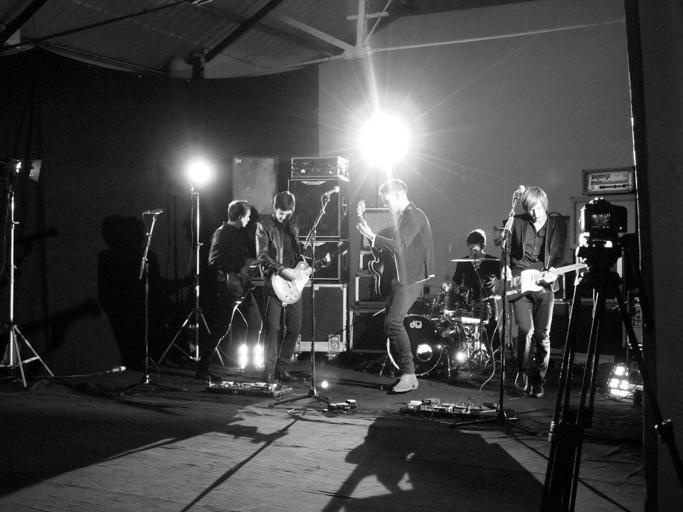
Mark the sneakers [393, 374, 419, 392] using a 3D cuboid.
[{"bbox_3d":[0.695,1.373,7.253,0.267,0.154,0.155,-2,-2,-15],"label":"sneakers"}]

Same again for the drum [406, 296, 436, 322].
[{"bbox_3d":[1.033,0.684,8.598,0.348,0.295,0.252,-2,-11,18],"label":"drum"}]

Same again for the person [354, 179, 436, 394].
[{"bbox_3d":[0.712,0.015,7.521,0.670,1.995,0.726,-2,34,8],"label":"person"}]

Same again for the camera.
[{"bbox_3d":[1.732,-0.205,4.400,0.266,0.575,0.350,3,32,26],"label":"camera"}]

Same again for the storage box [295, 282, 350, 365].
[{"bbox_3d":[-0.203,0.911,9.218,0.788,0.996,0.235,-3,1,15],"label":"storage box"}]

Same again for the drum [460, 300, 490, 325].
[{"bbox_3d":[1.705,0.708,8.447,0.242,0.162,0.351,6,-8,-24],"label":"drum"}]

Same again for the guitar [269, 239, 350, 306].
[{"bbox_3d":[-0.310,0.115,7.399,1.107,0.480,0.142,-43,22,-30],"label":"guitar"}]

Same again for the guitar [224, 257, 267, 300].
[{"bbox_3d":[-1.125,0.251,8.473,0.384,0.178,0.639,-37,-32,29],"label":"guitar"}]

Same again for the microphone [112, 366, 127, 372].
[{"bbox_3d":[-2.756,1.376,8.247,0.159,0.064,0.062,-8,6,-43],"label":"microphone"}]

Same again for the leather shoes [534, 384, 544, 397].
[{"bbox_3d":[2.089,1.420,7.088,0.116,0.141,0.098,0,2,16],"label":"leather shoes"}]

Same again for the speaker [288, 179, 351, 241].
[{"bbox_3d":[-0.375,-0.461,9.467,0.710,1.164,0.619,1,-36,-6],"label":"speaker"}]

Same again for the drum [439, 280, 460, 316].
[{"bbox_3d":[1.384,0.515,8.523,0.195,0.419,0.235,-1,-6,6],"label":"drum"}]

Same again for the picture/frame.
[{"bbox_3d":[3.185,-0.436,8.404,0.214,0.627,0.572,-6,11,-41],"label":"picture/frame"}]

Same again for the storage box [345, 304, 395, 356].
[{"bbox_3d":[0.434,0.815,9.058,0.665,0.775,0.612,4,30,12],"label":"storage box"}]
